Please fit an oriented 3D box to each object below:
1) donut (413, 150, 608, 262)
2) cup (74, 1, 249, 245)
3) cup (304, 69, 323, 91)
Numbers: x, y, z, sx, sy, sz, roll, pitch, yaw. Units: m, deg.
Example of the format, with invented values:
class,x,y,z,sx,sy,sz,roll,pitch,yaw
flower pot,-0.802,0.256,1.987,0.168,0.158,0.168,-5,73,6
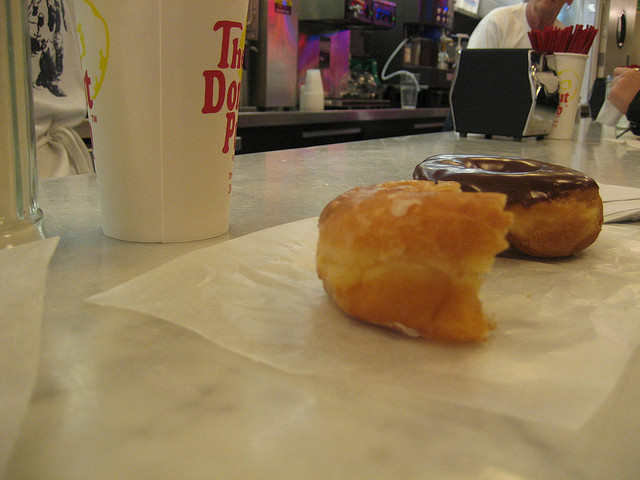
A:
class,x,y,z,sx,sy,sz,roll,pitch,yaw
donut,0.198,-0.036,0.509,0.160,0.056,0.154,-4,16,-15
cup,-0.150,-0.131,0.602,0.245,0.297,0.215,-3,15,-21
cup,-0.045,-0.927,2.888,0.130,0.118,0.118,0,7,0
